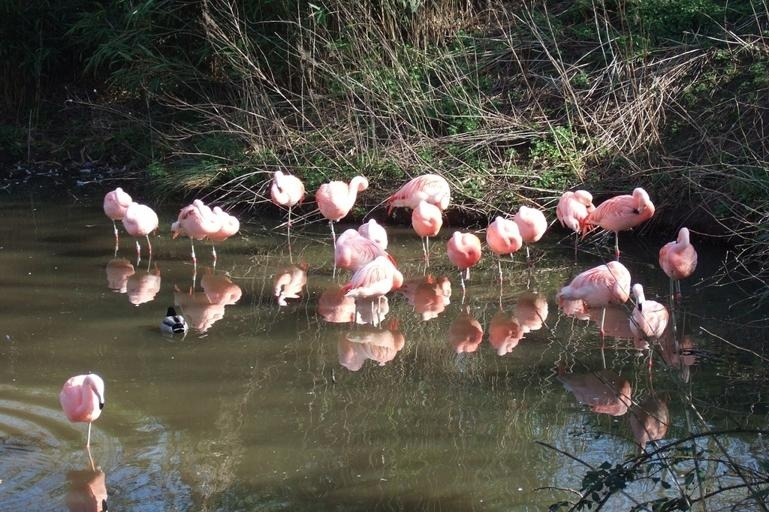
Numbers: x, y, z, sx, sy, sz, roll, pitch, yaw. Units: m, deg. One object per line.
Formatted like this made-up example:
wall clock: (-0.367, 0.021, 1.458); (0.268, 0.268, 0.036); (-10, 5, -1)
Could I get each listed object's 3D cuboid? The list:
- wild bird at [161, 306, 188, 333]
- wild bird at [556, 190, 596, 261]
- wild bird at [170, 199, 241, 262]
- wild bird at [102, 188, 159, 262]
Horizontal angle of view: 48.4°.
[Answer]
wild bird: (-2.254, 0.731, 9.196); (0.292, 0.197, 0.302); (-1, 43, -14)
wild bird: (2.322, -0.492, 10.761); (0.329, 0.607, 1.080); (-1, 57, 9)
wild bird: (-2.354, -0.415, 11.172); (0.692, 0.805, 0.960); (-2, 18, -28)
wild bird: (-3.434, -0.374, 11.556); (0.370, 0.766, 0.976); (-8, 70, -15)
